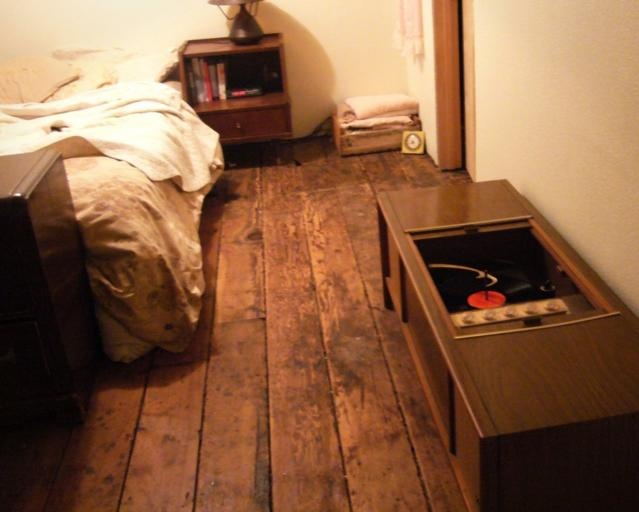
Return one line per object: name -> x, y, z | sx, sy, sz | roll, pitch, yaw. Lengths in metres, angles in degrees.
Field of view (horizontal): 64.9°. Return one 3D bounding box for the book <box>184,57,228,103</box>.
book -> -0.716, -1.172, 3.407 | 0.271, 0.368, 0.375 | -1, 32, -1
